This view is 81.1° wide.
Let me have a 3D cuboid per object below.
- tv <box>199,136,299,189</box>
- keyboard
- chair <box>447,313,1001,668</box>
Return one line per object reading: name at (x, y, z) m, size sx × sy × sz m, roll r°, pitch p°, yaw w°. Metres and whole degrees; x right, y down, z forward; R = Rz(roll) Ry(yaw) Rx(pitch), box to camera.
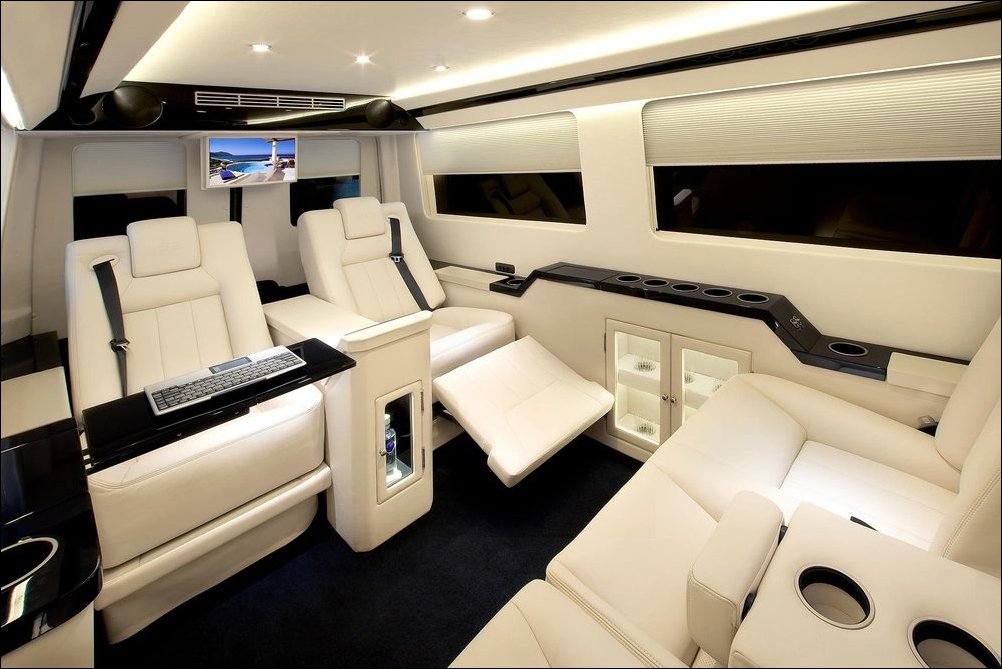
tv at (-1.568, -1.108, 3.725) m, size 0.203 × 0.287 × 0.587 m, roll 8°, pitch 20°, yaw 31°
keyboard at (-1.232, 0.202, 2.674) m, size 0.651 × 0.118 × 0.259 m, roll -15°, pitch 21°, yaw -36°
chair at (1.011, 0.673, 2.615) m, size 0.922 × 0.811 × 1.356 m, roll 15°, pitch 24°, yaw 31°
